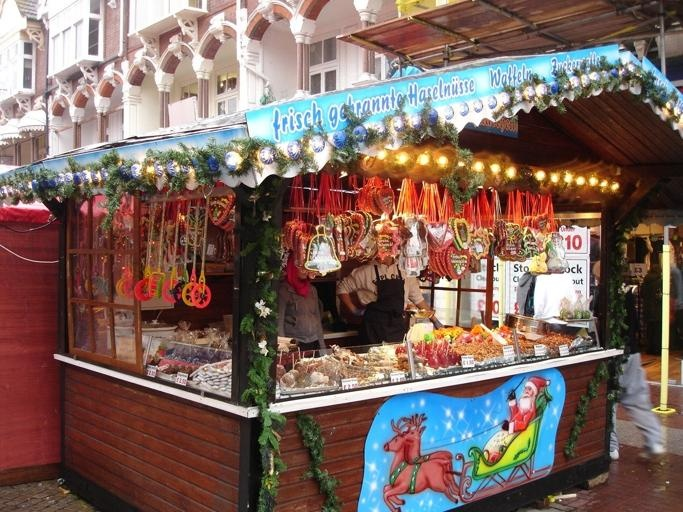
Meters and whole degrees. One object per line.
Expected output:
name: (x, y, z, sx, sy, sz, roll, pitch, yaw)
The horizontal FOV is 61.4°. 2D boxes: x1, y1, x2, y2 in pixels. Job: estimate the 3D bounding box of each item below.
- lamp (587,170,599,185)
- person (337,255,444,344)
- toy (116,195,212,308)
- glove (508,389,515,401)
lamp: (2.974, -0.900, 6.806, 0.120, 0.134, 0.029, 8, -5, -31)
person: (0.648, 0.741, 7.388, 1.133, 2.156, 0.550, 2, 30, 4)
toy: (-1.740, -0.057, 5.581, 0.989, 1.249, 0.352, 2, 1, 36)
glove: (1.709, 1.405, 5.776, 0.064, 0.097, 0.094, -4, -10, 30)
